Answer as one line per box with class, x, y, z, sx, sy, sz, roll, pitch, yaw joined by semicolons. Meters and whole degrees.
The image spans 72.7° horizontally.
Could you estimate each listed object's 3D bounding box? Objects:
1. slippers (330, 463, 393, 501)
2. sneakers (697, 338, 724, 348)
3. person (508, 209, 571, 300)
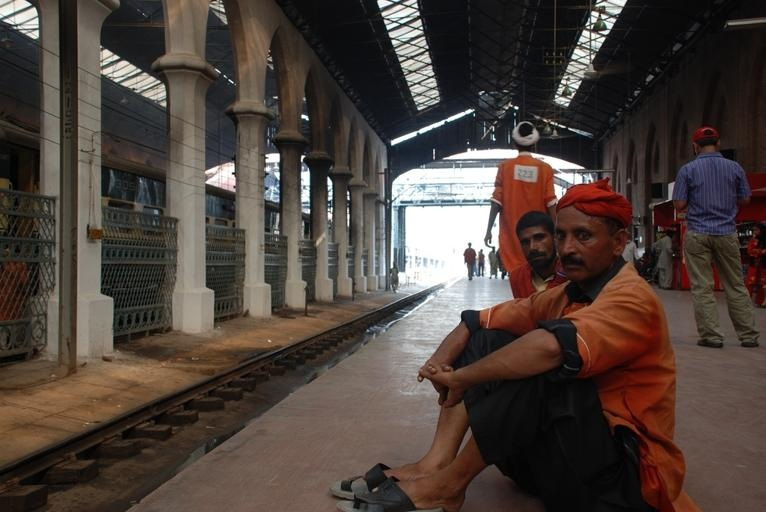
slippers;-0.127;1.333;3.123;0.486;0.212;0.166;-9;4;23
sneakers;4.309;1.155;6.902;0.117;0.133;0.310;0;6;-30
person;1.524;0.053;4.956;0.671;0.934;0.506;-5;-5;33
